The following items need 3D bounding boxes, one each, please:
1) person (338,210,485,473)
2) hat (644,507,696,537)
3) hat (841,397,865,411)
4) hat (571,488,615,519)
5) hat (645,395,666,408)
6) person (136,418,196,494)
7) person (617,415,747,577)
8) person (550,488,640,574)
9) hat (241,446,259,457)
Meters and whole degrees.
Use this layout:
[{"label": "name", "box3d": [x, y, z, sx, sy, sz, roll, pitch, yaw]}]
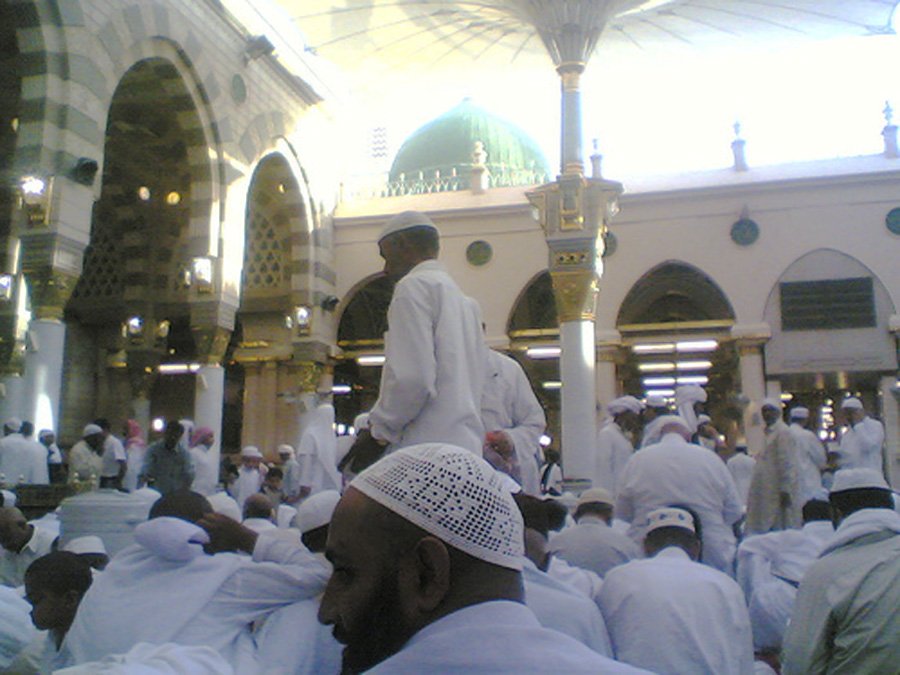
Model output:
[{"label": "person", "box3d": [-0.202, -0.001, 6.758, 0.886, 1.811, 0.555, 1, -7, -3]}, {"label": "hat", "box3d": [1.583, 1.269, 6.939, 0.280, 0.148, 0.275, 0, -3, -37]}, {"label": "hat", "box3d": [5.534, 0.916, 13.580, 0.222, 0.210, 0.433, -2, -7, 18]}, {"label": "hat", "box3d": [1.199, 1.368, 8.268, 0.301, 0.314, 0.238, 2, -6, 16]}, {"label": "hat", "box3d": [2.427, 0.744, 11.615, 0.215, 0.125, 0.365, -1, -7, 11]}, {"label": "person", "box3d": [-3.397, 1.424, 11.925, 0.646, 0.837, 0.569, 3, -7, -18]}, {"label": "person", "box3d": [2.094, 1.529, 8.854, 1.013, 1.631, 0.918, -1, -21, 5]}, {"label": "person", "box3d": [1.107, 1.528, 7.687, 0.684, 0.722, 0.364, 4, -1, 10]}, {"label": "hat", "box3d": [-3.021, 1.723, 14.976, 0.264, 0.146, 0.299, 2, -7, -12]}]
